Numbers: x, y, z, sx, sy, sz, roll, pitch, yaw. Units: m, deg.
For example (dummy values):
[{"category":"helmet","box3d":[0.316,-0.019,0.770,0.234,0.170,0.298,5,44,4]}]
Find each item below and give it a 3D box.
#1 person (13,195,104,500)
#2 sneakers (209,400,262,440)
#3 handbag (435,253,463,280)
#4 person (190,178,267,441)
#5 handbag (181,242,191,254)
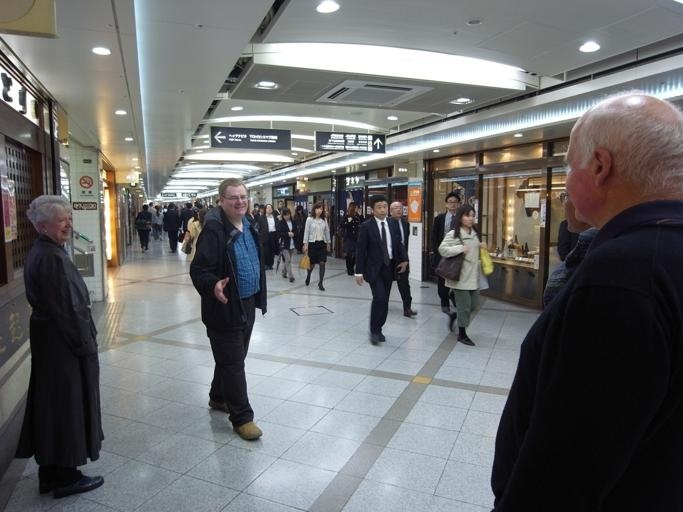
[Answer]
[{"category":"person","box3d":[-1.938,0.611,2.963,0.512,2.025,0.464,-4,8,-15]},{"category":"sneakers","box3d":[-0.896,1.403,3.893,0.659,0.298,0.197,3,3,41]},{"category":"handbag","box3d":[1.505,0.146,6.075,0.156,0.456,0.444,24,-7,-27]},{"category":"person","box3d":[-0.960,0.423,3.733,0.568,2.159,0.723,-2,8,-2]},{"category":"handbag","box3d":[-3.459,-0.181,9.817,0.199,0.292,0.299,2,5,-9]}]
